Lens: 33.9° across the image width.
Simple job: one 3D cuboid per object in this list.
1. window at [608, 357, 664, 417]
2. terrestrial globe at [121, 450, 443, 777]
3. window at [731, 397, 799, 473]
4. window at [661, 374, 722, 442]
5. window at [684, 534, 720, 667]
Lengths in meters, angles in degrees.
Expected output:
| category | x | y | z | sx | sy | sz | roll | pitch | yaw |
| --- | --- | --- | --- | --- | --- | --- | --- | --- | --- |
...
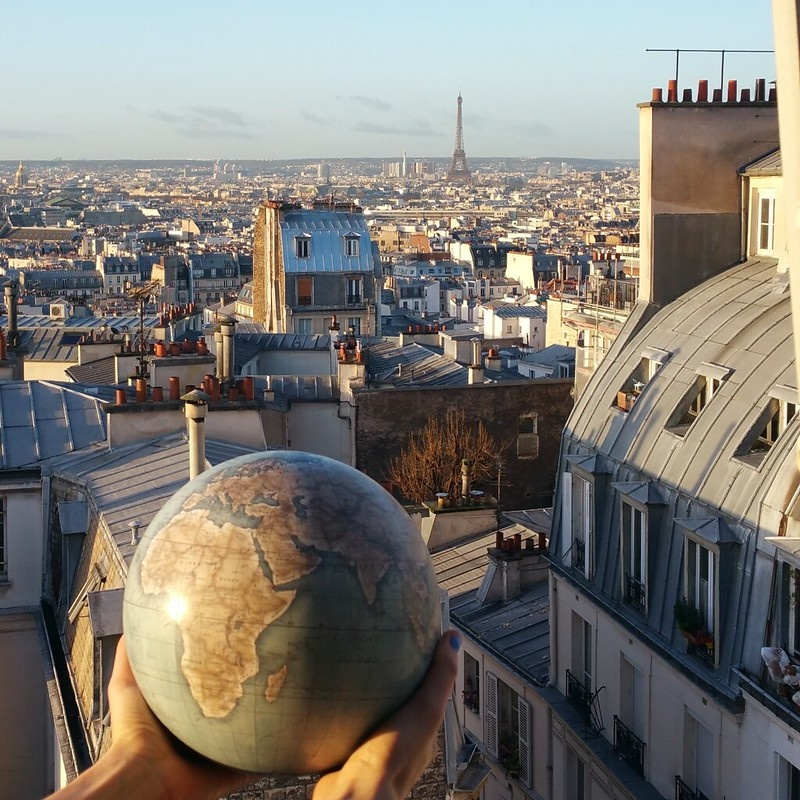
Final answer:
| category | x | y | z | sx | sy | sz | roll | pitch | yaw |
| --- | --- | --- | --- | --- | --- | --- | --- | --- | --- |
| window | 4.051 | -0.269 | 22.213 | 0.670 | 1.061 | 0.713 | 12 | 7 | 36 |
| terrestrial globe | -0.647 | 1.114 | 8.430 | 1.971 | 2.448 | 2.151 | -6 | 13 | -21 |
| window | 5.120 | 0.452 | 18.342 | 0.205 | 0.984 | 0.617 | 17 | 11 | -43 |
| window | 4.540 | 0.082 | 20.390 | 0.179 | 0.859 | 0.803 | 22 | 10 | -15 |
| window | 4.110 | 2.543 | 18.025 | 0.817 | 1.261 | 0.118 | 18 | -20 | -38 |
